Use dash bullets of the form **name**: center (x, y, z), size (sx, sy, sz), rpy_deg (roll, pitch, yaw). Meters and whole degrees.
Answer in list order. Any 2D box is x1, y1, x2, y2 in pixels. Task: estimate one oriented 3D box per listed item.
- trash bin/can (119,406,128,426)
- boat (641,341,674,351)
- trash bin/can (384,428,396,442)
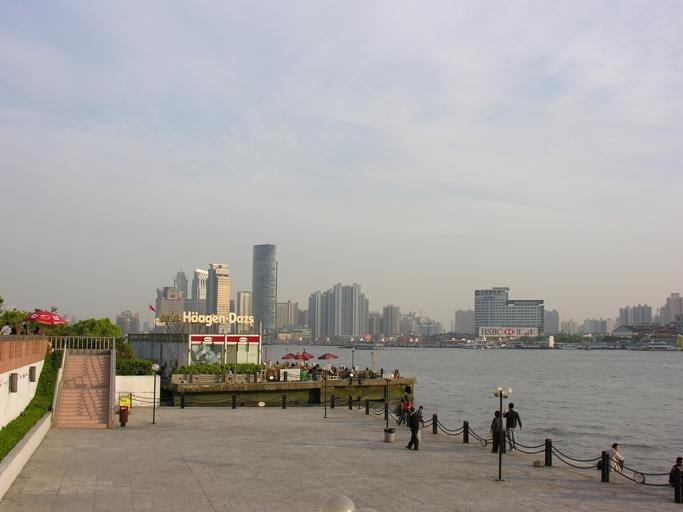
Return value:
- **trash bin/can**: center (-13.480, 9.915, 53.763), size (0.516, 1.226, 0.990), rpy_deg (5, -7, -18)
- **boat**: center (135.744, 38.529, 370.842), size (10.017, 3.669, 20.718), rpy_deg (1, -7, 9)
- **trash bin/can**: center (2.912, 10.618, 51.345), size (0.638, 0.627, 0.702), rpy_deg (2, -11, -7)
